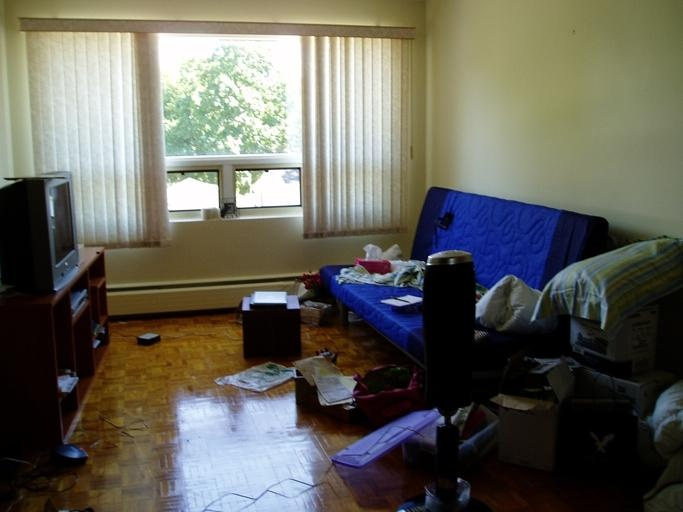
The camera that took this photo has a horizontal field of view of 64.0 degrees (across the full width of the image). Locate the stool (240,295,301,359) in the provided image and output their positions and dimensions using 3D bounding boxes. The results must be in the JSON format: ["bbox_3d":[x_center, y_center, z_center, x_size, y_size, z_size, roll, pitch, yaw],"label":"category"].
[{"bbox_3d":[-0.508,0.503,3.960,0.406,0.341,0.412,0,5,-3],"label":"stool"}]

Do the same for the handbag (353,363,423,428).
[{"bbox_3d":[0.254,0.770,3.029,0.364,0.203,0.436,-15,3,-25],"label":"handbag"}]
